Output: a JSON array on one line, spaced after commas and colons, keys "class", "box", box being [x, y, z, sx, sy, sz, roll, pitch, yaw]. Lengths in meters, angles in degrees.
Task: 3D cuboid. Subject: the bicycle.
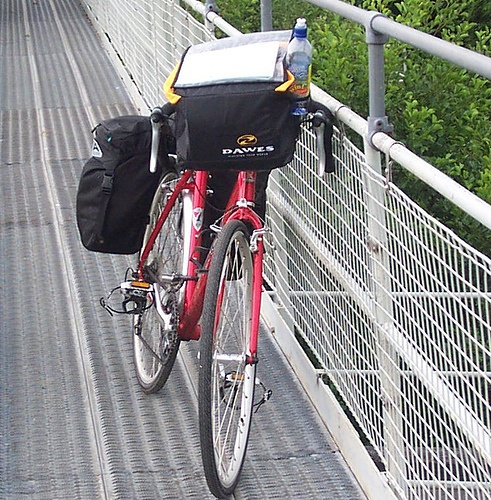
[{"class": "bicycle", "box": [-0.138, 0.111, 2.269, 0.665, 1.448, 1.179, -5, 36, -19]}]

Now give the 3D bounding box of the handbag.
[{"class": "handbag", "box": [-0.012, -0.411, 2.079, 0.569, 0.359, 0.494, -3, 6, -14]}]

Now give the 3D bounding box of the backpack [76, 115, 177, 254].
[{"class": "backpack", "box": [-0.551, -0.301, 2.589, 0.328, 0.569, 0.413, 1, 21, -35]}]
